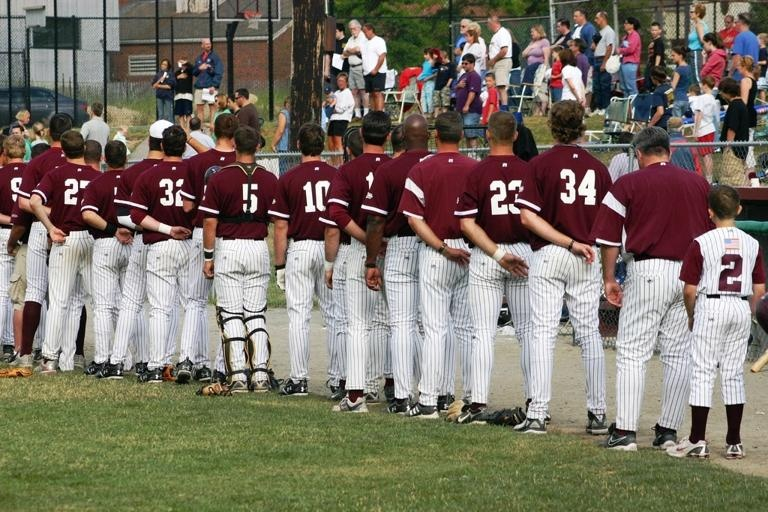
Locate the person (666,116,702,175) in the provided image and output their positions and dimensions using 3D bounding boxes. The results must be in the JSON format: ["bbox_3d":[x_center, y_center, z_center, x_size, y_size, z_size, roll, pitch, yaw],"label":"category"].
[{"bbox_3d":[4.910,-1.665,29.726,0.362,1.072,0.300,11,33,15],"label":"person"}]

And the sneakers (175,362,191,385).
[{"bbox_3d":[-2.913,1.717,27.200,0.219,0.344,0.252,2,-5,-7],"label":"sneakers"}]

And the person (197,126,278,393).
[{"bbox_3d":[-2.085,0.079,26.796,1.065,3.815,0.619,3,-5,-11],"label":"person"}]

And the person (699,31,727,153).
[{"bbox_3d":[6.006,-3.074,34.348,0.530,2.022,0.467,8,10,28],"label":"person"}]

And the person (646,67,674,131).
[{"bbox_3d":[4.923,-2.722,33.306,0.398,1.220,2.086,1,-5,9],"label":"person"}]

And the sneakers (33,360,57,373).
[{"bbox_3d":[-5.032,1.683,27.881,0.321,0.219,0.293,3,-5,-11],"label":"sneakers"}]

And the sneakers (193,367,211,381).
[{"bbox_3d":[-2.673,1.777,27.532,0.132,0.155,0.343,2,-11,-23],"label":"sneakers"}]

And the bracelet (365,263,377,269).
[{"bbox_3d":[-0.173,0.150,25.790,0.142,0.082,0.103,3,-5,-16],"label":"bracelet"}]

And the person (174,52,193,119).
[{"bbox_3d":[-4.326,-3.621,40.353,0.441,1.254,1.204,2,-5,-7],"label":"person"}]

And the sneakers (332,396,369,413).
[{"bbox_3d":[-0.455,2.116,26.130,0.530,0.241,0.203,1,-6,1],"label":"sneakers"}]

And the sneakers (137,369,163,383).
[{"bbox_3d":[-3.434,1.786,27.435,0.382,0.172,0.166,3,4,39],"label":"sneakers"}]

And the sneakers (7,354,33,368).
[{"bbox_3d":[-5.519,1.627,28.315,0.432,0.197,0.160,3,4,44],"label":"sneakers"}]

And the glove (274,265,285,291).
[{"bbox_3d":[-1.551,0.296,26.954,0.224,0.267,0.288,-4,19,1],"label":"glove"}]

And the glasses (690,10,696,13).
[{"bbox_3d":[5.850,-4.639,35.244,0.086,0.028,0.086,9,2,-1],"label":"glasses"}]

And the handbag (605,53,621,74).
[{"bbox_3d":[4.443,-3.739,36.112,0.246,0.354,0.132,3,-19,21],"label":"handbag"}]

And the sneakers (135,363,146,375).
[{"bbox_3d":[-3.589,1.716,27.658,0.128,0.186,0.062,-3,-15,15],"label":"sneakers"}]

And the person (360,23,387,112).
[{"bbox_3d":[-0.209,-3.833,37.882,0.513,1.784,1.172,2,-5,-1],"label":"person"}]

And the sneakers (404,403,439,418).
[{"bbox_3d":[0.537,2.166,25.812,0.486,0.224,0.185,2,-1,6],"label":"sneakers"}]

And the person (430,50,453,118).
[{"bbox_3d":[1.156,-3.496,37.065,0.415,1.446,0.878,2,-5,0],"label":"person"}]

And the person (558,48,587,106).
[{"bbox_3d":[3.525,-3.428,34.912,0.455,1.261,1.659,1,-5,6],"label":"person"}]

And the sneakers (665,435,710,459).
[{"bbox_3d":[4.027,2.590,24.750,0.556,0.275,0.236,2,-5,5],"label":"sneakers"}]

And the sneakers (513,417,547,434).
[{"bbox_3d":[1.991,2.330,25.250,0.436,0.200,0.179,2,-6,5],"label":"sneakers"}]

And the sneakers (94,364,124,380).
[{"bbox_3d":[-4.061,1.736,27.598,0.431,0.196,0.176,3,1,34],"label":"sneakers"}]

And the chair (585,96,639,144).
[{"bbox_3d":[4.431,-2.623,35.505,1.088,1.159,0.668,-1,1,-44],"label":"chair"}]

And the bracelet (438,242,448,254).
[{"bbox_3d":[0.807,-0.086,25.601,0.087,0.125,0.125,34,19,-21],"label":"bracelet"}]

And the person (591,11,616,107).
[{"bbox_3d":[4.262,-3.799,36.823,0.604,1.972,0.748,-1,5,-14],"label":"person"}]

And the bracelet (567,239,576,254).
[{"bbox_3d":[2.511,-0.121,25.038,0.092,0.153,0.135,6,-7,14],"label":"bracelet"}]

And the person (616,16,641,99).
[{"bbox_3d":[4.718,-3.802,35.949,0.411,1.607,1.155,1,-5,7],"label":"person"}]

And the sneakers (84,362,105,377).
[{"bbox_3d":[-4.333,1.724,27.866,0.428,0.206,0.159,-3,-3,29],"label":"sneakers"}]
